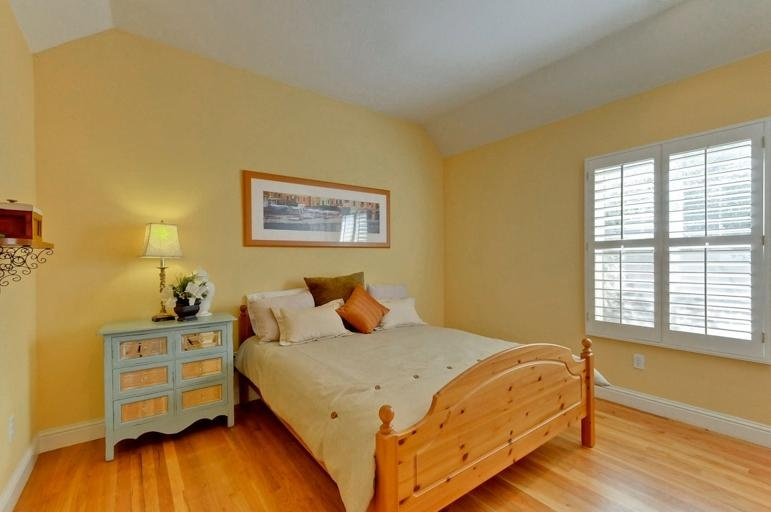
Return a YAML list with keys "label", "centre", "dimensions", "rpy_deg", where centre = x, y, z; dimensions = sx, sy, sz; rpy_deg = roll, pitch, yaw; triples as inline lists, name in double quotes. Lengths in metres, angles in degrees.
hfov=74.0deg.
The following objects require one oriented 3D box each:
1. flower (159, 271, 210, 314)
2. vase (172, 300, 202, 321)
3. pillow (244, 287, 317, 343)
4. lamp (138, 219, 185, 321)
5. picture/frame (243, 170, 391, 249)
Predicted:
- label: "flower"
  centre: [-1.848, 0.311, 4.832]
  dimensions: [0.432, 0.375, 0.427]
  rpy_deg: [0, 0, -44]
- label: "vase"
  centre: [-1.861, 0.501, 4.772]
  dimensions: [0.202, 0.153, 0.211]
  rpy_deg: [1, 5, 3]
- label: "pillow"
  centre: [-1.134, 0.558, 5.123]
  dimensions: [0.553, 0.503, 0.158]
  rpy_deg: [0, -22, -45]
- label: "lamp"
  centre: [-2.113, 0.136, 4.851]
  dimensions: [0.338, 0.977, 0.292]
  rpy_deg: [-2, 1, -22]
- label: "picture/frame"
  centre: [-0.678, -0.475, 5.772]
  dimensions: [1.816, 0.757, 0.039]
  rpy_deg: [1, -1, -33]
